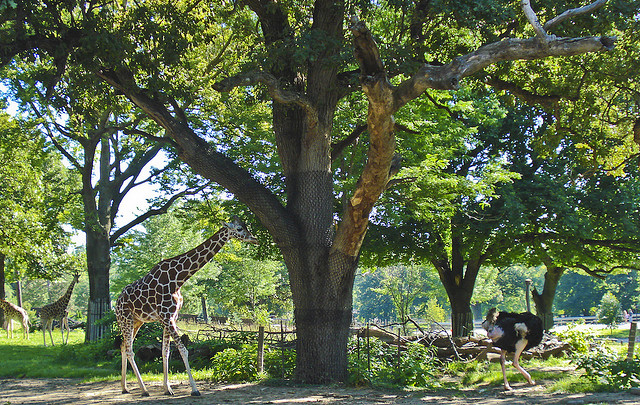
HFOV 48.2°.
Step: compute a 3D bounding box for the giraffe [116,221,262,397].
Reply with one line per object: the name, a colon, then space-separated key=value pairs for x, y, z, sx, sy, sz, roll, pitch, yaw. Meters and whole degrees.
giraffe: x=-5.716 y=4.416 z=28.124 sx=4.693 sy=6.731 sz=7.121 roll=0 pitch=5 yaw=3
